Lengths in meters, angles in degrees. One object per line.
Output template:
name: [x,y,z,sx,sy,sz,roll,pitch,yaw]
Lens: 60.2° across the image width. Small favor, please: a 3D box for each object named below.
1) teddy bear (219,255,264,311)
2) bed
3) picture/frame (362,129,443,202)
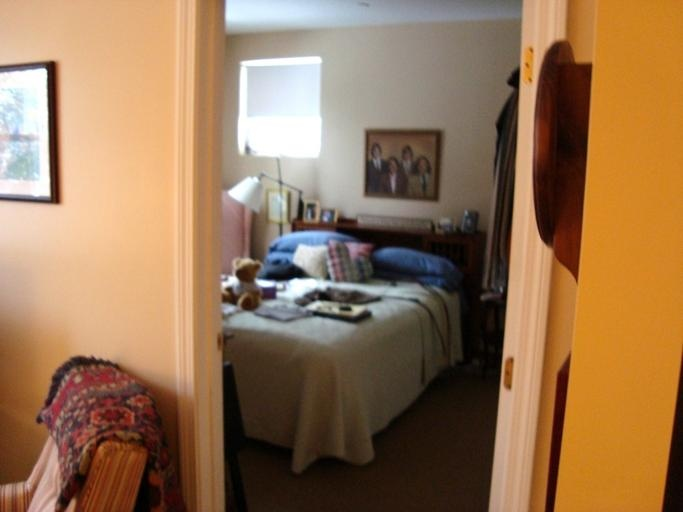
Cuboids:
teddy bear: [-0.624,0.167,3.688,0.280,0.392,0.271,5,-5,8]
bed: [0.090,0.451,3.512,0.878,0.559,1.304,3,9,28]
picture/frame: [0.547,-0.796,5.072,0.536,0.537,0.056,5,9,23]
